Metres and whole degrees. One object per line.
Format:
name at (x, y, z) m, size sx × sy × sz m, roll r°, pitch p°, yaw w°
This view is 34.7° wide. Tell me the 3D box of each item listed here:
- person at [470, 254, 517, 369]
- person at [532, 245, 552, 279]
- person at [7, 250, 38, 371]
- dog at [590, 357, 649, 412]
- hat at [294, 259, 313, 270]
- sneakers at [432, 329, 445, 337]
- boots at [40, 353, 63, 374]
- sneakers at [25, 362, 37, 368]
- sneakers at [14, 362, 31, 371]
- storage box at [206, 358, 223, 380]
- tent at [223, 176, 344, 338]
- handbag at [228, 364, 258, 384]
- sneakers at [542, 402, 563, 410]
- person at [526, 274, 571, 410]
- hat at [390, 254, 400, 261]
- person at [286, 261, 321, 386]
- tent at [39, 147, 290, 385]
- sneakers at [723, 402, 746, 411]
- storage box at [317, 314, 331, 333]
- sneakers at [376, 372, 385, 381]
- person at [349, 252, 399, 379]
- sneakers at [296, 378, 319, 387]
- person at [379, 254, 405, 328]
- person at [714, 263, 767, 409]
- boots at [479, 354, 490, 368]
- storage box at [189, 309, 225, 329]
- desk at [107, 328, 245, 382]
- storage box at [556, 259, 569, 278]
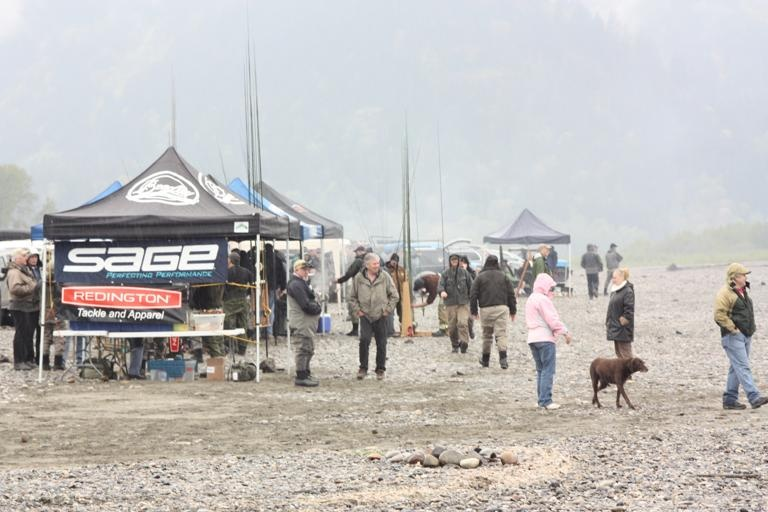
person at (2.260, 1.120, 25.418) m, size 0.951 × 2.322 × 1.014 m, roll -3°, pitch -8°, yaw 13°
person at (3.364, 0.216, 26.267) m, size 0.389 × 1.142 × 0.555 m, roll 0°, pitch 31°, yaw 10°
person at (-7.198, 1.018, 24.579) m, size 0.647 × 2.379 × 0.874 m, roll 2°, pitch -8°, yaw -18°
dog at (4.131, 2.217, 21.909) m, size 0.882 × 0.899 × 1.190 m, roll -2°, pitch -8°, yaw 4°
hat at (-1.564, 0.101, 23.077) m, size 0.269 × 0.158 × 0.196 m, roll -18°, pitch -8°, yaw 25°
sneakers at (1.371, 1.855, 30.170) m, size 0.361 × 0.266 × 0.136 m, roll 1°, pitch -3°, yaw 11°
boots at (-6.498, 2.047, 24.277) m, size 0.464 × 0.483 × 0.231 m, roll -3°, pitch 6°, yaw -42°
sneakers at (-7.027, 2.135, 24.602) m, size 0.210 × 0.155 × 0.087 m, roll -5°, pitch 12°, yaw 0°
sneakers at (-7.169, 2.144, 24.493) m, size 0.314 × 0.146 × 0.142 m, roll -2°, pitch 10°, yaw 6°
storage box at (-3.224, 2.121, 23.625) m, size 0.351 × 0.380 × 0.372 m, roll 1°, pitch 1°, yaw -11°
tent at (-2.647, -0.045, 29.811) m, size 3.230 × 3.267 × 3.243 m, roll 2°, pitch 8°, yaw 9°
handbag at (-2.668, 2.205, 23.623) m, size 0.316 × 0.362 × 0.397 m, roll -7°, pitch -13°, yaw 43°
sneakers at (2.972, 2.611, 21.780) m, size 0.349 × 0.164 × 0.125 m, roll -2°, pitch 2°, yaw 16°
person at (2.872, 1.437, 21.830) m, size 0.652 × 2.465 × 1.150 m, roll -2°, pitch -8°, yaw 7°
hat at (0.250, -0.010, 28.806) m, size 0.131 × 0.174 × 0.161 m, roll 1°, pitch -9°, yaw 44°
person at (-1.506, 1.228, 23.326) m, size 0.603 × 2.385 × 1.106 m, roll 0°, pitch -8°, yaw -4°
tent at (-4.227, 0.127, 25.213) m, size 4.403 × 4.320 × 4.412 m, roll -1°, pitch 6°, yaw 2°
sneakers at (6.100, 2.580, 21.437) m, size 0.369 × 0.182 × 0.139 m, roll -3°, pitch -1°, yaw 14°
storage box at (-1.431, 1.657, 30.867) m, size 0.386 × 0.465 × 0.391 m, roll 1°, pitch -3°, yaw -29°
sneakers at (-0.087, 2.312, 24.084) m, size 0.156 × 0.220 × 0.135 m, roll 9°, pitch -15°, yaw -28°
person at (-0.234, 1.157, 24.038) m, size 0.769 × 2.341 × 0.741 m, roll -8°, pitch -11°, yaw 42°
sneakers at (-1.436, 2.310, 23.146) m, size 0.286 × 0.114 × 0.190 m, roll 0°, pitch -1°, yaw 7°
person at (0.152, 0.700, 29.173) m, size 0.374 × 1.378 × 0.524 m, roll 11°, pitch 3°, yaw -31°
person at (6.192, 1.348, 21.515) m, size 0.740 × 2.556 × 0.960 m, roll -3°, pitch -8°, yaw 16°
boots at (2.100, 2.095, 25.706) m, size 0.152 × 0.303 × 0.302 m, roll 1°, pitch 15°, yaw -3°
storage box at (-3.341, 1.201, 23.419) m, size 0.465 × 0.247 × 0.358 m, roll 1°, pitch -8°, yaw -10°
desk at (-3.860, 1.819, 23.309) m, size 2.423 × 0.947 × 1.101 m, roll 0°, pitch -8°, yaw -5°
storage box at (6.466, 0.461, 44.087) m, size 0.550 × 0.667 × 0.953 m, roll 3°, pitch 4°, yaw 7°
